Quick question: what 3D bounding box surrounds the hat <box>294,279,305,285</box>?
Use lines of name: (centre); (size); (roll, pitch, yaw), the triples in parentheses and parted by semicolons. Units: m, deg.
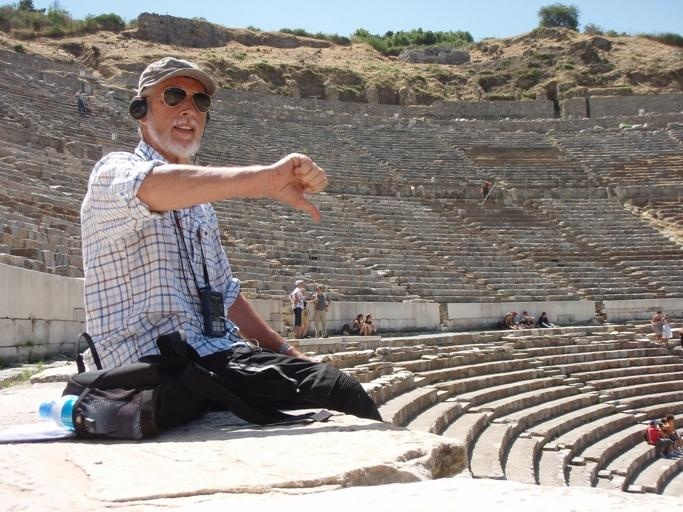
hat: (-0.893, 0.539, 18.140); (0.162, 0.062, 0.215); (-9, -3, -32)

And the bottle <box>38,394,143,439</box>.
bottle: (-2.846, 1.681, 9.219); (0.603, 0.322, 0.395); (12, 32, 31)
